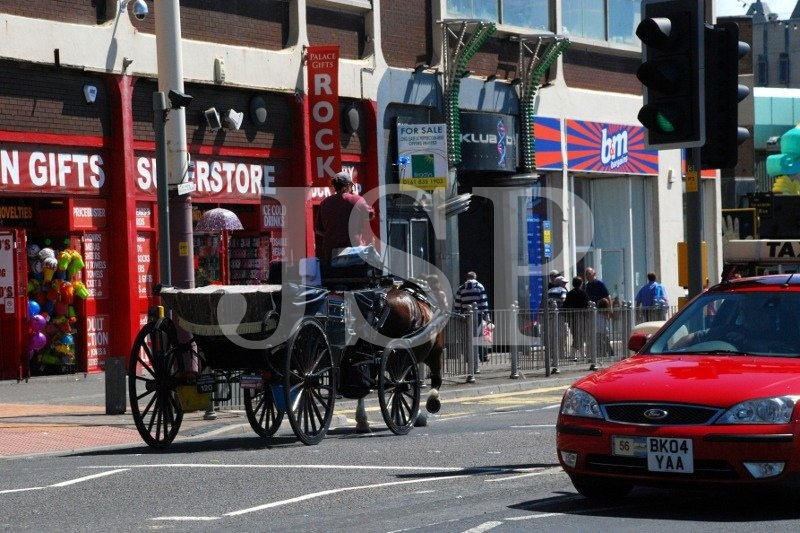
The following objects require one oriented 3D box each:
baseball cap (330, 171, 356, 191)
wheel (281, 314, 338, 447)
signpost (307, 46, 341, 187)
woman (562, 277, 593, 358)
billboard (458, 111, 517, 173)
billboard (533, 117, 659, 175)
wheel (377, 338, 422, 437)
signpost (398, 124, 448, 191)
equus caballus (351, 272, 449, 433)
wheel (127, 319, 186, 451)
[{"bbox_3d":[-0.884,-1.267,20.341,0.268,0.298,0.378,7,13,9],"label":"baseball cap"},{"bbox_3d":[-1.284,1.638,19.113,0.486,1.780,1.623,-4,-1,22],"label":"wheel"},{"bbox_3d":[-1.794,-3.452,30.707,0.845,3.200,0.623,0,5,15],"label":"signpost"},{"bbox_3d":[4.000,1.130,29.380,0.515,1.710,0.469,-7,-12,4],"label":"woman"},{"bbox_3d":[2.673,-3.352,35.704,1.879,1.430,1.933,-1,9,-13],"label":"billboard"},{"bbox_3d":[6.177,-3.505,39.004,0.919,1.519,6.164,-4,8,-25],"label":"billboard"},{"bbox_3d":[-0.020,1.860,20.313,0.395,1.430,1.388,-6,-7,26],"label":"wheel"},{"bbox_3d":[0.578,-2.545,31.757,1.439,1.999,0.196,-2,-6,16],"label":"signpost"},{"bbox_3d":[0.265,1.288,21.120,0.711,1.783,2.709,-9,-19,39],"label":"equus caballus"},{"bbox_3d":[-3.539,1.791,19.450,0.459,1.536,1.500,0,-21,26],"label":"wheel"}]
